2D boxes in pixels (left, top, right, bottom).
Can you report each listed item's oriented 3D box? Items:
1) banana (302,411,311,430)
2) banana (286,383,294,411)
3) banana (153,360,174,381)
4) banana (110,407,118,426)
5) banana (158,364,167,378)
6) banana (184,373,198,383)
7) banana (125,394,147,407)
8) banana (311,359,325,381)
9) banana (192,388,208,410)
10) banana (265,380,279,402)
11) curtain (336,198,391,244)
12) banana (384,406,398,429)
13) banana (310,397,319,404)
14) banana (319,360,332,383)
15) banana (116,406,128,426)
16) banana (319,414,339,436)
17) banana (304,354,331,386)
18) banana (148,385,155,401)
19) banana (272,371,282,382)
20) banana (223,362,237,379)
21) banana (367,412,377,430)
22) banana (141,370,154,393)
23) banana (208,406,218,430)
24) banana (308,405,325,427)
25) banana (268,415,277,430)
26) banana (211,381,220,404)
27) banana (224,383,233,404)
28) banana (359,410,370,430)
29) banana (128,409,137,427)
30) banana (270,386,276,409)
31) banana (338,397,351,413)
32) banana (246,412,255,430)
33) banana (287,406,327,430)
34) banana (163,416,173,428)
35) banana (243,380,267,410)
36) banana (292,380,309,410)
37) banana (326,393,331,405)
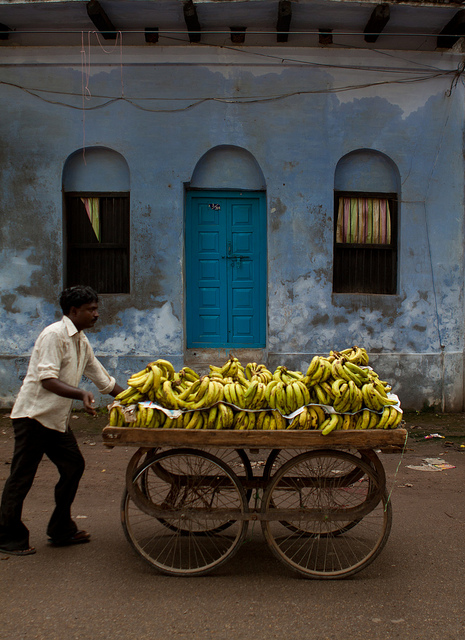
[{"bbox_3d":[0.491,0.653,4.550,0.044,0.130,0.030,17,3,37],"label":"banana"},{"bbox_3d":[0.377,0.501,4.543,0.044,0.159,0.079,0,6,1],"label":"banana"},{"bbox_3d":[-0.476,0.318,4.794,0.133,0.044,0.126,44,-8,32],"label":"banana"},{"bbox_3d":[-0.769,0.634,4.591,0.034,0.138,0.044,-2,-4,37],"label":"banana"},{"bbox_3d":[-0.456,0.346,4.764,0.022,0.072,0.071,-14,27,12],"label":"banana"},{"bbox_3d":[-0.295,0.420,5.055,0.119,0.042,0.028,29,-36,-15],"label":"banana"},{"bbox_3d":[-0.625,0.529,4.597,0.143,0.075,0.034,-1,6,-10],"label":"banana"},{"bbox_3d":[0.552,0.324,4.514,0.082,0.124,0.043,1,6,5],"label":"banana"},{"bbox_3d":[-0.200,0.511,4.528,0.026,0.131,0.043,30,-4,-29],"label":"banana"},{"bbox_3d":[0.262,0.459,4.587,0.033,0.088,0.102,12,27,-5],"label":"banana"},{"bbox_3d":[1.814,-1.386,9.734,0.724,0.674,0.047,2,24,14],"label":"curtain"},{"bbox_3d":[1.029,0.632,4.538,0.067,0.129,0.078,4,7,33],"label":"banana"},{"bbox_3d":[0.537,0.522,4.597,0.036,0.036,0.009,7,-3,30],"label":"banana"},{"bbox_3d":[0.614,0.332,4.548,0.042,0.118,0.115,3,21,14],"label":"banana"},{"bbox_3d":[-0.714,0.627,4.588,0.077,0.127,0.037,4,7,35],"label":"banana"},{"bbox_3d":[0.615,0.658,4.440,0.093,0.053,0.194,4,35,31],"label":"banana"},{"bbox_3d":[0.558,0.335,4.581,0.169,0.193,0.174,1,6,6],"label":"banana"},{"bbox_3d":[-0.522,0.474,4.567,0.025,0.102,0.033,1,0,24],"label":"banana"},{"bbox_3d":[0.319,0.394,4.925,0.024,0.089,0.083,11,13,9],"label":"banana"},{"bbox_3d":[-0.010,0.355,4.909,0.028,0.095,0.062,29,-3,-31],"label":"banana"},{"bbox_3d":[0.910,0.654,4.552,0.032,0.161,0.053,12,-6,-30],"label":"banana"},{"bbox_3d":[-0.538,0.403,4.565,0.056,0.134,0.092,5,8,42],"label":"banana"},{"bbox_3d":[-0.123,0.630,4.520,0.031,0.164,0.055,6,-17,40],"label":"banana"},{"bbox_3d":[0.545,0.612,4.527,0.088,0.119,0.033,-16,8,33],"label":"banana"},{"bbox_3d":[0.271,0.661,4.529,0.025,0.103,0.033,2,-2,-2],"label":"banana"},{"bbox_3d":[-0.095,0.457,4.533,0.030,0.100,0.086,-3,4,9],"label":"banana"},{"bbox_3d":[-0.023,0.476,4.569,0.052,0.113,0.116,0,6,-3],"label":"banana"},{"bbox_3d":[0.865,0.643,4.545,0.040,0.166,0.056,17,-12,0],"label":"banana"},{"bbox_3d":[-0.640,0.630,4.551,0.056,0.099,0.023,14,14,-8],"label":"banana"},{"bbox_3d":[0.266,0.508,4.531,0.043,0.122,0.029,5,-1,-6],"label":"banana"},{"bbox_3d":[0.727,0.550,4.516,0.069,0.086,0.042,1,6,13],"label":"banana"},{"bbox_3d":[0.124,0.647,4.539,0.048,0.099,0.028,-1,6,-8],"label":"banana"},{"bbox_3d":[0.487,0.642,4.517,0.219,0.129,0.089,-28,12,21],"label":"banana"},{"bbox_3d":[-0.411,0.667,4.548,0.025,0.118,0.040,16,20,-9],"label":"banana"},{"bbox_3d":[0.153,0.478,4.538,0.117,0.168,0.057,4,8,11],"label":"banana"},{"bbox_3d":[0.437,0.479,4.536,0.106,0.150,0.038,-2,5,-21],"label":"banana"},{"bbox_3d":[0.626,0.515,4.547,0.015,0.062,0.023,3,-15,-17],"label":"banana"}]
